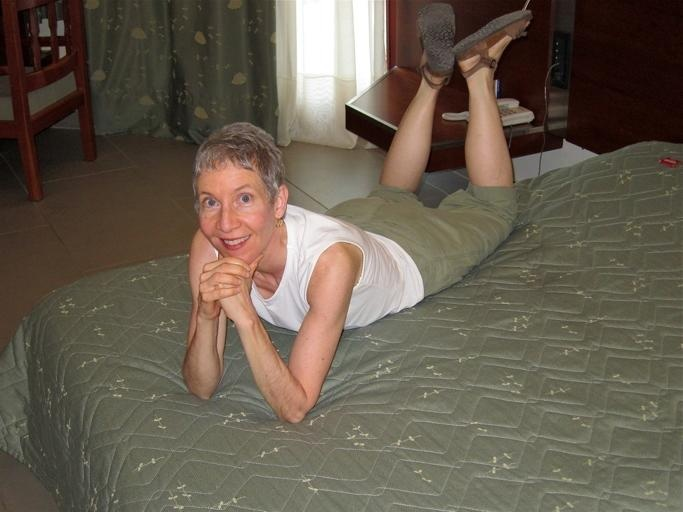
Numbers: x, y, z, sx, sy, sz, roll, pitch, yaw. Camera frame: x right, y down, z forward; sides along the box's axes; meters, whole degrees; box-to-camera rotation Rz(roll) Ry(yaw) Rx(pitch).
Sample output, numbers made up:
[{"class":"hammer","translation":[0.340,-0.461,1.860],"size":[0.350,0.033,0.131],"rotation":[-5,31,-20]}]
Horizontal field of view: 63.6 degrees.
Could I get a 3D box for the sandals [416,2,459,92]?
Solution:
[{"class":"sandals","translation":[0.375,-0.844,2.197],"size":[0.166,0.319,0.142],"rotation":[-1,-13,1]}]
